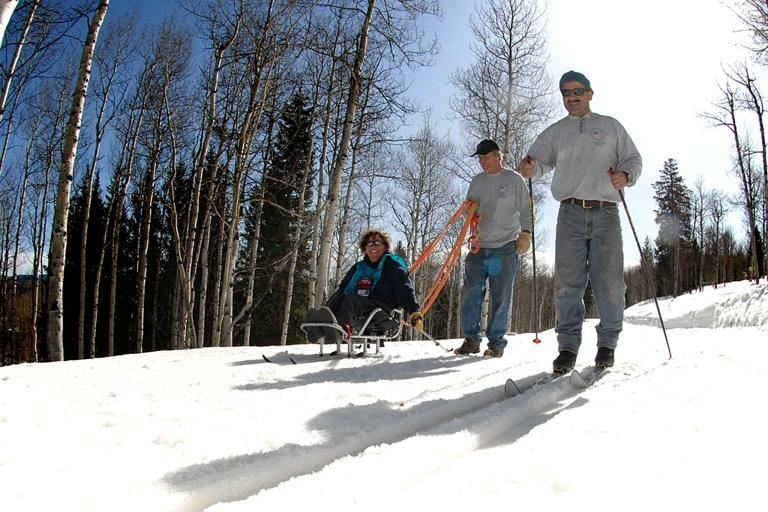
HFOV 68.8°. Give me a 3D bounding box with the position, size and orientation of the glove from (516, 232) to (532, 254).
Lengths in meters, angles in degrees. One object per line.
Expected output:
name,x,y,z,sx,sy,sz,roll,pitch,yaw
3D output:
glove,1.641,-0.163,6.619,0.171,0.247,0.060,11,1,-16

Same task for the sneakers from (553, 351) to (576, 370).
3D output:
sneakers,1.676,0.984,5.238,0.173,0.187,0.257,-3,-7,28

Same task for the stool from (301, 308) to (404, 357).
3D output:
stool,-0.392,0.895,6.515,0.624,0.638,1.151,-13,-23,36

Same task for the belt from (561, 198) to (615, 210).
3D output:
belt,2.009,-0.522,5.525,0.516,0.123,0.120,-2,-7,19

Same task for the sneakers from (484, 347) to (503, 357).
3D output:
sneakers,1.301,1.142,6.712,0.094,0.110,0.228,0,0,37

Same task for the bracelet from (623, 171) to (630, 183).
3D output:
bracelet,2.283,-0.751,5.287,0.024,0.106,0.103,-3,-4,-8

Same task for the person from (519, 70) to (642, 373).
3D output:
person,1.972,-0.372,5.487,0.957,2.930,0.447,-2,-6,17

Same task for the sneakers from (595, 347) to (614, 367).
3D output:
sneakers,2.070,0.952,5.261,0.117,0.159,0.104,9,-48,15
